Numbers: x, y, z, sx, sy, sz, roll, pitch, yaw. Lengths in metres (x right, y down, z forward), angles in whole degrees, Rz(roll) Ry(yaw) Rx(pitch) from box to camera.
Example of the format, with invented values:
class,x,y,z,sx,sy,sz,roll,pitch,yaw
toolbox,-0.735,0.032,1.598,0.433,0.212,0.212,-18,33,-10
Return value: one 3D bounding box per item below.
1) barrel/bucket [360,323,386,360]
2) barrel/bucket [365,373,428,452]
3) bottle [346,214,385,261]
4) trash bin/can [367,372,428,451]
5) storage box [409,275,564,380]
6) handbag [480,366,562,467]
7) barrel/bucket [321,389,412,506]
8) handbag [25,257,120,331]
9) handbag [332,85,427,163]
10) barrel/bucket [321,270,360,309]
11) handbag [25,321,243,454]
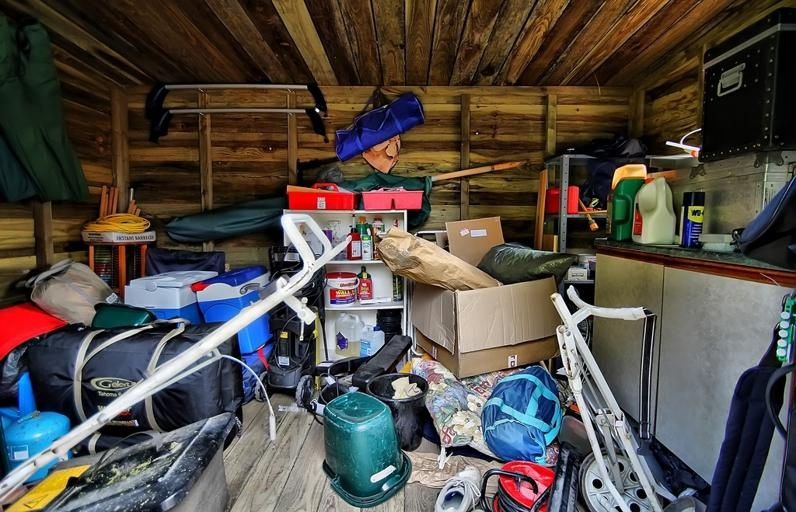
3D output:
class,x,y,z,sx,sy,sz,roll,pitch,yaw
barrel/bucket,-0.226,0.745,4.405,0.213,0.248,0.330,-2,4,-18
barrel/bucket,0.046,1.035,3.342,0.505,0.349,0.461,0,-1,0
bottle,-0.297,-0.163,4.444,0.313,0.397,0.321,0,4,0
trash bin/can,-0.010,1.046,3.380,0.502,0.345,0.459,-1,-1,0
storage box,0.661,0.467,3.764,0.913,0.444,0.827,-3,5,-24
handbag,0.832,0.983,3.255,0.537,0.241,0.657,18,41,19
barrel/bucket,-0.252,1.116,3.144,0.660,0.480,0.568,4,13,41
handbag,-2.460,0.245,3.792,0.630,0.202,0.434,29,38,3
handbag,-0.174,-1.185,4.545,0.883,0.292,0.467,-21,48,7
barrel/bucket,-0.535,0.316,4.432,0.352,0.208,0.305,-2,0,1
handbag,-1.757,0.897,3.455,1.485,0.767,0.659,-1,10,11
